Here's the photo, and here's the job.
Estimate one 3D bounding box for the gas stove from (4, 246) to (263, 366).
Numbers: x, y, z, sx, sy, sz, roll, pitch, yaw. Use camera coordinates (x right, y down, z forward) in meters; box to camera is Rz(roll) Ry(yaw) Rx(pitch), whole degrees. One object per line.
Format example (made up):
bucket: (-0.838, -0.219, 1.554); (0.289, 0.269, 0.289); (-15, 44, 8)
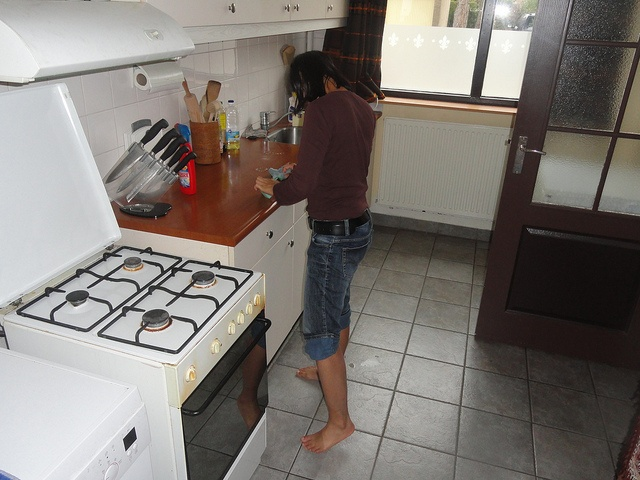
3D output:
gas stove: (-0.622, 0.221, 1.548); (0.439, 0.068, 0.396); (10, 28, 16)

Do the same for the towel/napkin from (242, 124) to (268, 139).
towel/napkin: (-0.472, -0.756, 3.090); (0.157, 0.054, 0.126); (4, 31, -10)

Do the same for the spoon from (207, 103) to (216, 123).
spoon: (-0.645, -0.756, 2.561); (0.052, 0.100, 0.033); (-7, 28, -13)

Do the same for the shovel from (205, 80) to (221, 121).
shovel: (-0.642, -0.816, 2.567); (0.068, 0.304, 0.038); (8, 8, 1)

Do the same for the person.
person: (0.004, 0.090, 2.045); (0.521, 1.760, 0.720); (0, 27, 0)

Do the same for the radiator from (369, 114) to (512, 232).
radiator: (1.081, -0.626, 3.795); (1.029, 0.820, 0.080); (9, 33, 10)

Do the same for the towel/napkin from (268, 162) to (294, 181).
towel/napkin: (-0.208, -0.351, 2.336); (0.119, 0.058, 0.152); (3, 31, 24)

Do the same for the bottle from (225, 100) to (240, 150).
bottle: (-0.586, -0.770, 2.860); (0.084, 0.293, 0.285); (-4, 28, -9)
